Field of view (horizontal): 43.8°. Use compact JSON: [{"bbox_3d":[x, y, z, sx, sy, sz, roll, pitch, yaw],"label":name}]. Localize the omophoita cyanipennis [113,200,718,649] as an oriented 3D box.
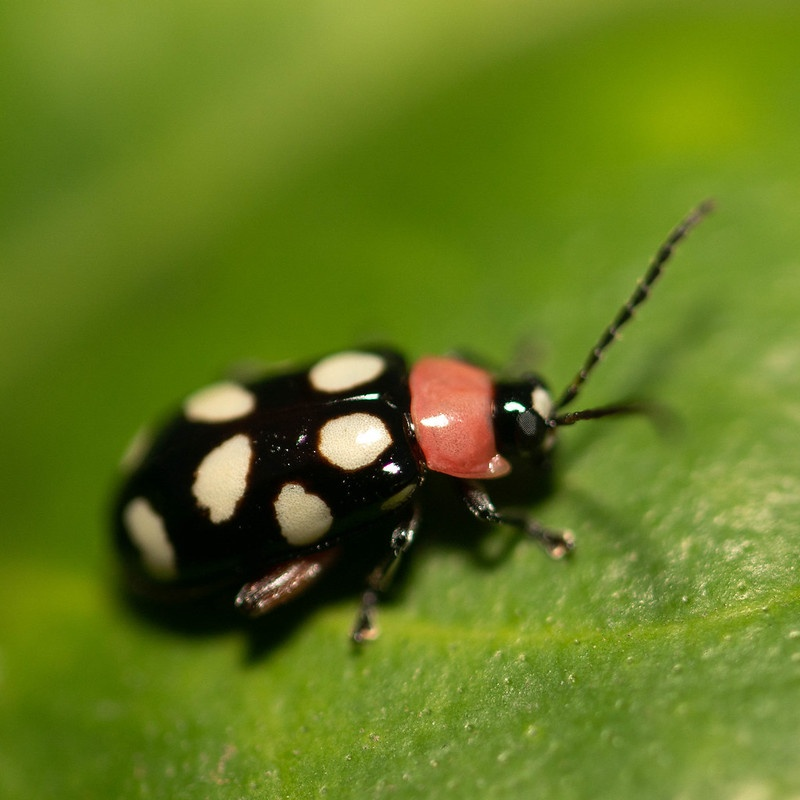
[{"bbox_3d":[-0.175,0.196,2.877,1.396,0.425,0.858,-24,64,-14],"label":"omophoita cyanipennis"}]
